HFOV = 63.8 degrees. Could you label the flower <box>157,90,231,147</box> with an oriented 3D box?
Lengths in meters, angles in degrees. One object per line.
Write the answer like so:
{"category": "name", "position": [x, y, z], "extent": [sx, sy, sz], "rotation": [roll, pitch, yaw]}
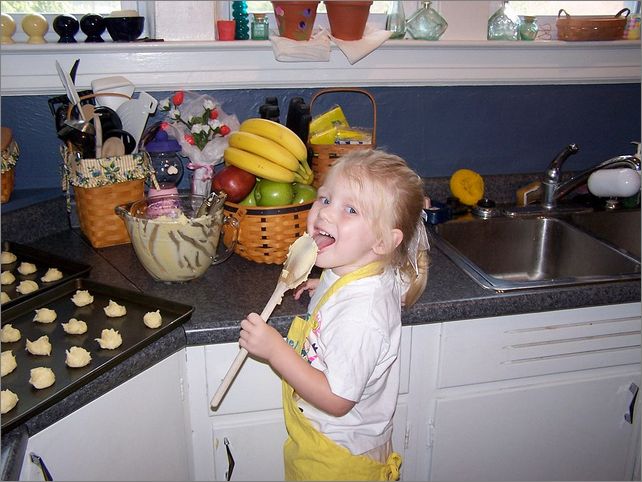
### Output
{"category": "flower", "position": [-0.413, -0.399, 1.691], "extent": [0.211, 0.160, 0.156], "rotation": [-4, 24, -16]}

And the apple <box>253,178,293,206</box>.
{"category": "apple", "position": [-0.140, -0.134, 1.551], "extent": [0.100, 0.087, 0.085], "rotation": [-5, -8, -12]}

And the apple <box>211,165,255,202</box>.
{"category": "apple", "position": [-0.253, -0.169, 1.515], "extent": [0.120, 0.113, 0.109], "rotation": [1, 31, -1]}

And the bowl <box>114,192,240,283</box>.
{"category": "bowl", "position": [-0.405, -0.004, 1.474], "extent": [0.313, 0.207, 0.248], "rotation": [0, 21, -10]}

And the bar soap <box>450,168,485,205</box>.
{"category": "bar soap", "position": [0.543, -0.191, 1.908], "extent": [0.109, 0.134, 0.073], "rotation": [-13, 0, 16]}

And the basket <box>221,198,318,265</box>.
{"category": "basket", "position": [-0.172, -0.038, 1.509], "extent": [0.205, 0.123, 0.181], "rotation": [-5, 9, -39]}

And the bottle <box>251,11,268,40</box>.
{"category": "bottle", "position": [-0.213, -0.736, 1.766], "extent": [0.063, 0.084, 0.070], "rotation": [-1, 23, -7]}

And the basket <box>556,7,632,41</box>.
{"category": "basket", "position": [1.022, -0.788, 1.935], "extent": [0.216, 0.104, 0.147], "rotation": [0, 5, 4]}

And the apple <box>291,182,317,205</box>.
{"category": "apple", "position": [-0.059, -0.141, 1.542], "extent": [0.059, 0.035, 0.060], "rotation": [4, 46, 2]}

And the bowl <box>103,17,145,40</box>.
{"category": "bowl", "position": [-0.630, -0.681, 1.646], "extent": [0.084, 0.062, 0.085], "rotation": [0, 13, 0]}

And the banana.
{"category": "banana", "position": [-0.143, -0.253, 1.554], "extent": [0.254, 0.116, 0.195], "rotation": [10, -13, 15]}
